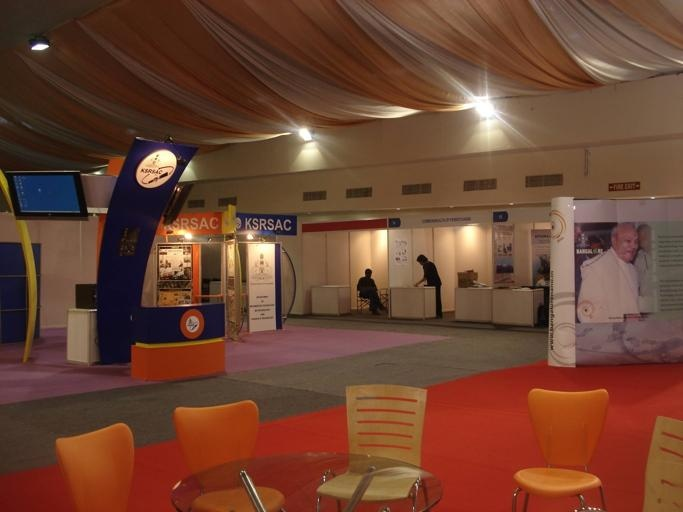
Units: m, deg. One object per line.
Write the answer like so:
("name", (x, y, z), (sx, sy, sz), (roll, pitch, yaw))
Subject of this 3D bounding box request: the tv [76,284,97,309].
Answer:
("tv", (-4.488, 0.704, 9.215), (0.546, 0.404, 0.126), (-1, -1, 42))

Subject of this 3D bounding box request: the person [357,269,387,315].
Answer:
("person", (1.021, 1.111, 16.800), (0.833, 1.402, 0.780), (0, -1, -36))

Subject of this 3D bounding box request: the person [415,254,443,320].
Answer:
("person", (2.532, 0.867, 15.171), (0.769, 1.805, 0.649), (0, -1, -21))

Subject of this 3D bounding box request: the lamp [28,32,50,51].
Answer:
("lamp", (-5.010, -3.515, 8.686), (0.216, 0.059, 0.234), (-3, -6, 13))
